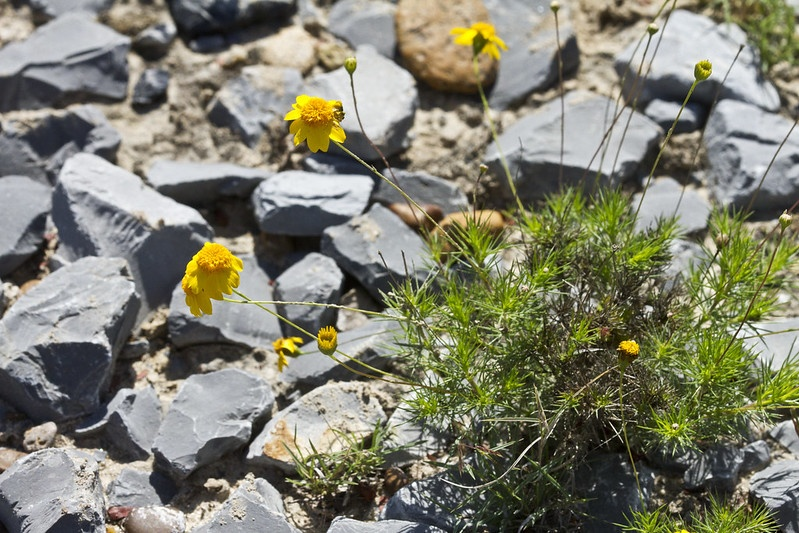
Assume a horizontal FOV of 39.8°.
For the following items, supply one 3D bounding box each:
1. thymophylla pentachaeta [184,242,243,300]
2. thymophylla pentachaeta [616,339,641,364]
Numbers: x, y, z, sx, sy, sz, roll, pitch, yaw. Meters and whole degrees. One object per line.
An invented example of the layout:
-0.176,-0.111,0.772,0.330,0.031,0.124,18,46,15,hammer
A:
-1.244,0.023,7.625,0.465,0.490,0.176,-15,98,-7,thymophylla pentachaeta
1.526,0.553,7.339,0.123,0.152,0.180,14,61,22,thymophylla pentachaeta
